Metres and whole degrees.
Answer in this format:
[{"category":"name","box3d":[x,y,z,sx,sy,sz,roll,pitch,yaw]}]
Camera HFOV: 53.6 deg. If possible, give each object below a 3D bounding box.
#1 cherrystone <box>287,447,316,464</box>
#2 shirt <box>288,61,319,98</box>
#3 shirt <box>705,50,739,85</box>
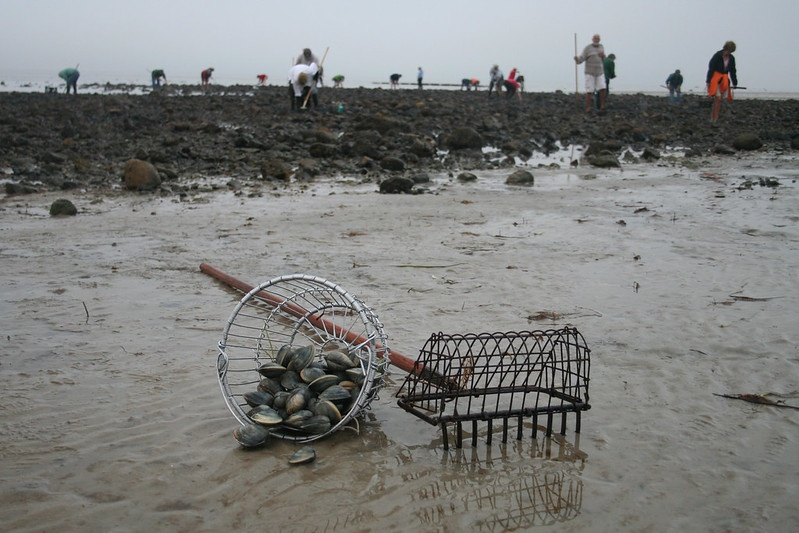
[{"category":"cherrystone","box3d":[-1.074,2.052,8.580,0.290,0.149,0.145,-4,14,-15]},{"category":"shirt","box3d":[-3.391,-6.549,27.739,1.026,1.104,1.483,-2,13,-6]},{"category":"shirt","box3d":[9.885,-5.993,23.997,0.969,1.015,0.813,-1,14,-3]}]
